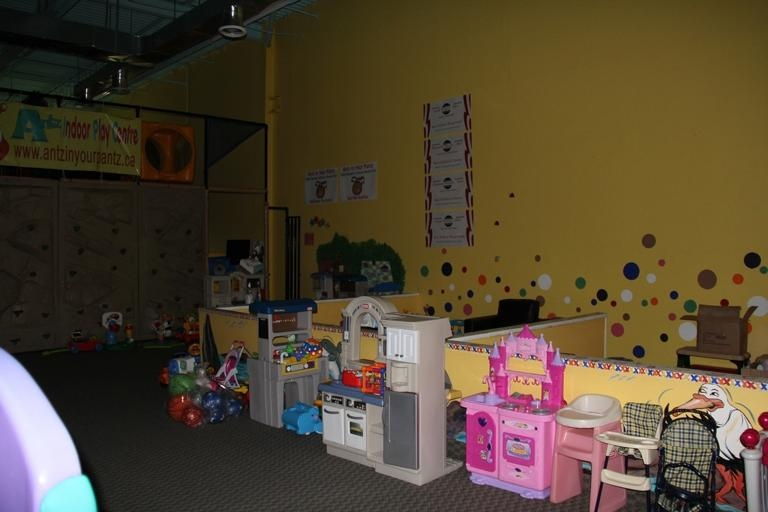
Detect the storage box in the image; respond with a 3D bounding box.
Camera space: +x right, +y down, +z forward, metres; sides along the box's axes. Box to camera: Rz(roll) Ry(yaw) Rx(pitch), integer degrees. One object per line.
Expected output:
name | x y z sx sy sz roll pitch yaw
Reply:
storage box | 3.700 0.789 6.041 0.813 0.621 0.456 -3 -5 39
